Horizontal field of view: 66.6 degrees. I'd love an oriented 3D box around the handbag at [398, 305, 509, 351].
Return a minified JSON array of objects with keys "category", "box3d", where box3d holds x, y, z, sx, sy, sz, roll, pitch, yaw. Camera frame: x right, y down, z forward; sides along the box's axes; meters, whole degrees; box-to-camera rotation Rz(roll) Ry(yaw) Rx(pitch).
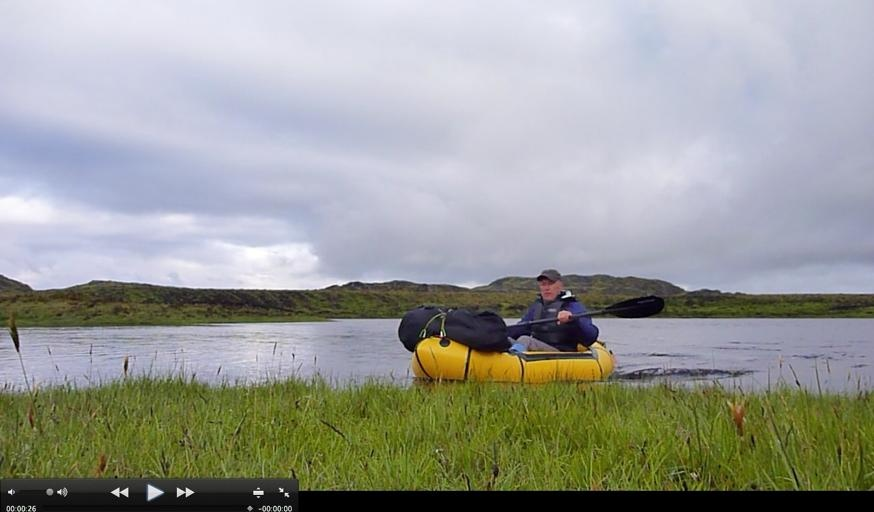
[{"category":"handbag","box3d":[0.449,1.627,15.332,1.741,0.635,1.251,1,-5,22]}]
